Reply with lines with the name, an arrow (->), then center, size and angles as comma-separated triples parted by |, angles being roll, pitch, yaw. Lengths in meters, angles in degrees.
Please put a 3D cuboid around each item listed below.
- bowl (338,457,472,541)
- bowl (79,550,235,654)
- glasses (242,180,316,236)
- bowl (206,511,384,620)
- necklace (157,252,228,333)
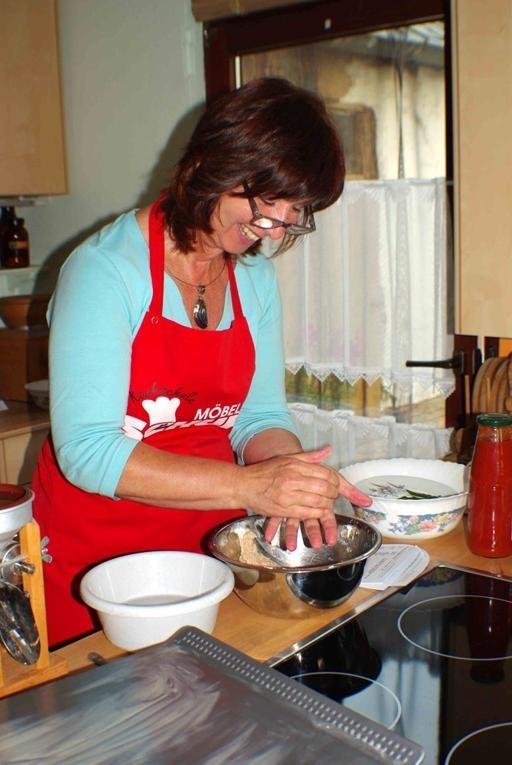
bowl -> 0.265, 0.215, 1.099 | 0.226, 0.094, 0.234 | -4, 4, 0
bowl -> -0.107, 0.250, 0.739 | 0.179, 0.067, 0.179 | 1, 5, 0
glasses -> 0.022, -0.227, 0.905 | 0.090, 0.088, 0.024 | -13, -25, -44
bowl -> 0.070, 0.242, 0.820 | 0.188, 0.068, 0.182 | 3, -26, 2
necklace -> -0.089, -0.154, 1.019 | 0.099, 0.133, 0.041 | -2, -4, 22
